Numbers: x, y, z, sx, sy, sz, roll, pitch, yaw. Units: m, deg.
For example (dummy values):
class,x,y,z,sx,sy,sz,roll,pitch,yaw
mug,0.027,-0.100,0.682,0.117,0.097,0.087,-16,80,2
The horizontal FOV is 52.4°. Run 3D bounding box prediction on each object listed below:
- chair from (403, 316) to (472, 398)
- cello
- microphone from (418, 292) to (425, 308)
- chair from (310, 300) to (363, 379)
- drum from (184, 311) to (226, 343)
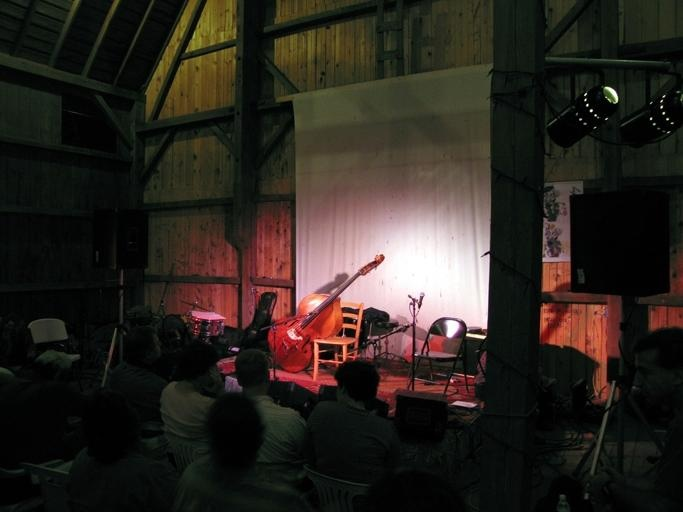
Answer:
class,x,y,z,sx,sy,sz,roll,pitch,yaw
chair,1.247,1.289,8.900,0.539,1.010,0.648,4,1,35
cello,-0.214,0.666,9.611,0.912,2.390,0.474,37,5,13
microphone,1.080,0.622,9.451,0.076,0.082,0.252,1,-42,-9
chair,-0.028,1.194,9.703,0.513,1.105,0.658,2,1,32
drum,-2.071,1.089,10.554,0.479,0.353,0.414,-5,-7,42
